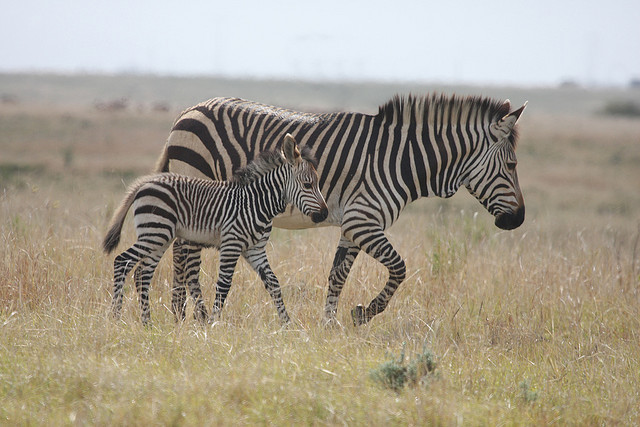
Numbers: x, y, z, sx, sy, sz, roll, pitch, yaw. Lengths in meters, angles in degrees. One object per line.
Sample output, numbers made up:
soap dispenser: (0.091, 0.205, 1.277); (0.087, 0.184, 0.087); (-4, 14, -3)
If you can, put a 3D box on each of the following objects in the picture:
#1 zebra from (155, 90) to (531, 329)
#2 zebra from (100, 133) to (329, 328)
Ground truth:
zebra: (0.385, -0.200, 12.362); (5.174, 4.087, 1.400); (11, 26, 18)
zebra: (-1.403, 0.285, 11.291); (2.904, 2.694, 0.978); (0, 5, -1)
